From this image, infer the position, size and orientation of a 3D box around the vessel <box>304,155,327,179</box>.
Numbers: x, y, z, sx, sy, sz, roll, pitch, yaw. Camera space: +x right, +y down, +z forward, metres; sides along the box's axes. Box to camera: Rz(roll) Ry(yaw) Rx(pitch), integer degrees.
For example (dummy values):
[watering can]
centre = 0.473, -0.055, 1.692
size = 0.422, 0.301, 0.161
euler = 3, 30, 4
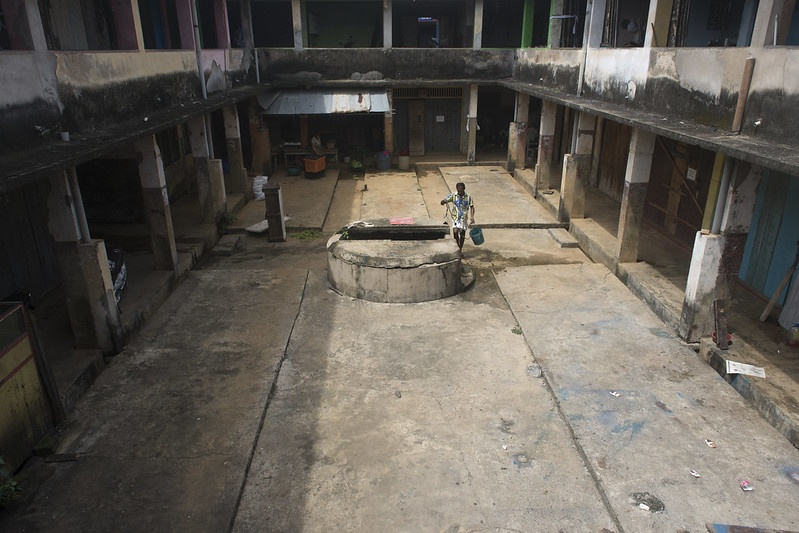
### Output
[vessel]
centre = -3.748, -4.339, 19.435
size = 0.499, 0.821, 0.846
euler = 19, 43, 20

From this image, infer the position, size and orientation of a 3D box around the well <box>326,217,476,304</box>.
[well]
centre = 0.186, -0.022, 10.910
size = 2.715, 0.960, 2.601
euler = -16, 28, -34
